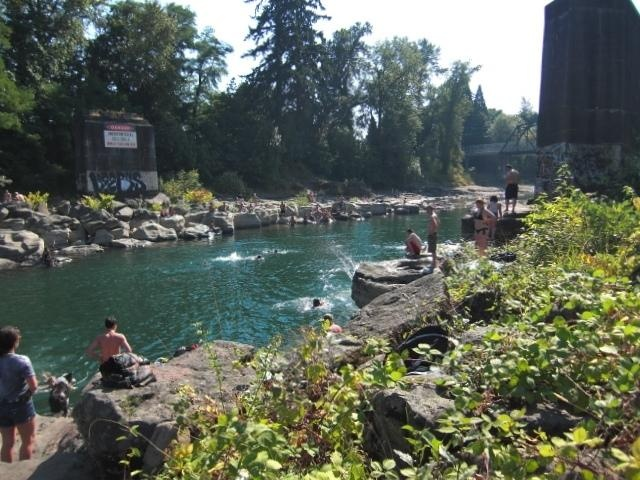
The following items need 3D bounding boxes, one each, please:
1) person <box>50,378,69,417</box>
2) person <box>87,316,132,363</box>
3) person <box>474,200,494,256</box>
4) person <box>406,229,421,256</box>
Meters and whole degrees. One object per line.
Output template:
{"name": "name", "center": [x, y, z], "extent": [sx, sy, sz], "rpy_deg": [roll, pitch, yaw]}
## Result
{"name": "person", "center": [-4.999, 2.988, 10.056], "extent": [0.251, 0.556, 0.922], "rpy_deg": [4, 14, -18]}
{"name": "person", "center": [-3.840, 1.788, 9.414], "extent": [0.608, 0.767, 0.661], "rpy_deg": [-7, 6, -41]}
{"name": "person", "center": [4.439, -0.435, 14.125], "extent": [0.511, 1.343, 1.033], "rpy_deg": [-1, 5, 19]}
{"name": "person", "center": [2.920, 0.081, 16.402], "extent": [0.450, 0.828, 1.081], "rpy_deg": [-2, 5, 9]}
